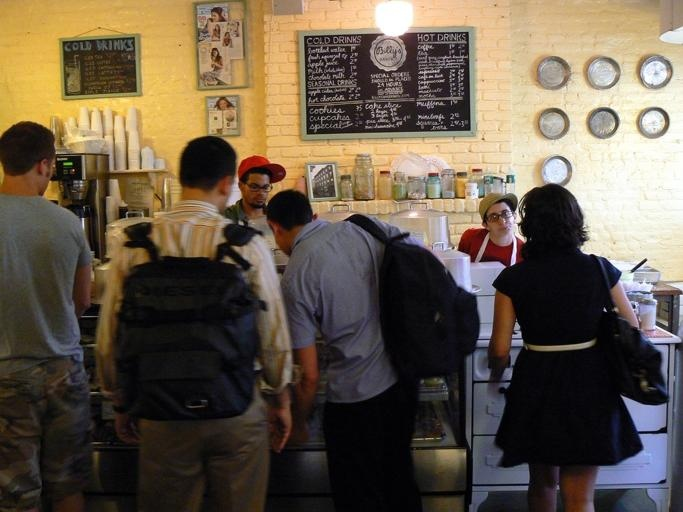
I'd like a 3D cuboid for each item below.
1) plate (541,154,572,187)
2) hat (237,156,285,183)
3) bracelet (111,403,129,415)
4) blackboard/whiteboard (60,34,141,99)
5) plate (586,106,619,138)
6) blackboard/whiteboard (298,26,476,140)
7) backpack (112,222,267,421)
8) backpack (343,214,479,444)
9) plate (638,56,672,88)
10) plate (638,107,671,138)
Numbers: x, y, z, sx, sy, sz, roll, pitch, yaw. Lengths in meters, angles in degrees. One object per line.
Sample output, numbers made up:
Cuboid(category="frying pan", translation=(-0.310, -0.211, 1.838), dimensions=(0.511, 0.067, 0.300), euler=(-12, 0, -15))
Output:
Cuboid(category="plate", translation=(1.847, -0.731, 5.446), dimensions=(0.277, 0.258, 0.070), euler=(-3, 5, -9))
Cuboid(category="hat", translation=(-0.513, -0.586, 4.024), dimensions=(0.286, 0.146, 0.182), euler=(-15, -5, 23))
Cuboid(category="bracelet", translation=(-0.817, 0.571, 2.367), dimensions=(0.084, 0.024, 0.077), euler=(10, -8, -14))
Cuboid(category="blackboard/whiteboard", translation=(-1.974, -1.584, 5.235), dimensions=(0.557, 0.396, 0.038), euler=(-1, 3, 0))
Cuboid(category="plate", translation=(2.225, -1.133, 5.404), dimensions=(0.270, 0.245, 0.062), euler=(0, 9, 0))
Cuboid(category="blackboard/whiteboard", translation=(0.361, -1.368, 5.081), dimensions=(1.479, 0.841, 0.032), euler=(6, 15, 24))
Cuboid(category="backpack", translation=(-0.534, 0.237, 2.404), dimensions=(0.587, 0.692, 0.385), euler=(-3, 9, 12))
Cuboid(category="backpack", translation=(0.207, 0.146, 2.752), dimensions=(0.729, 0.636, 0.430), euler=(4, 15, 12))
Cuboid(category="plate", translation=(2.647, -1.547, 5.359), dimensions=(0.286, 0.259, 0.061), euler=(1, -1, -5))
Cuboid(category="plate", translation=(2.649, -1.133, 5.403), dimensions=(0.265, 0.250, 0.061), euler=(-26, 12, -3))
